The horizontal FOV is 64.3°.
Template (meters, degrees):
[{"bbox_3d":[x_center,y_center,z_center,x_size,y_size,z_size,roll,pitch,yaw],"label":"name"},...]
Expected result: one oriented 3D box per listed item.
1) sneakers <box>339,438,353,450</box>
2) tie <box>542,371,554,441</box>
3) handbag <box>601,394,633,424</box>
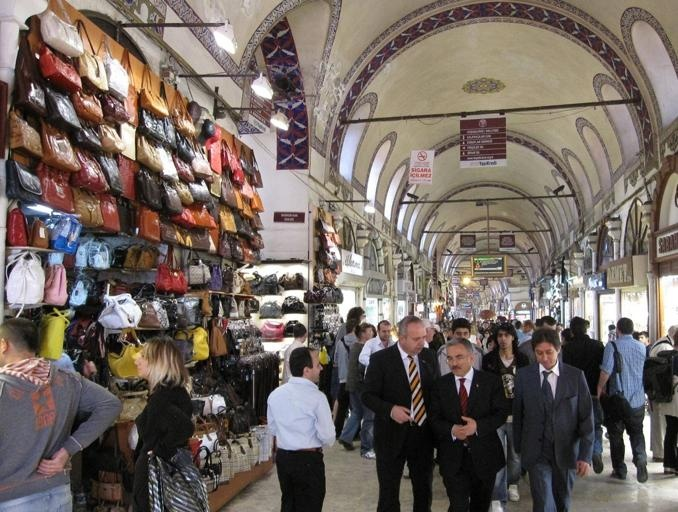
[{"bbox_3d":[0.078,2.822,8.089,0.280,0.133,0.097,12,-13,-39],"label":"sneakers"},{"bbox_3d":[1.748,1.270,4.557,0.141,0.618,0.062,1,-47,23],"label":"tie"},{"bbox_3d":[3.421,1.853,6.629,0.187,0.360,0.249,-1,-27,-48],"label":"handbag"}]
